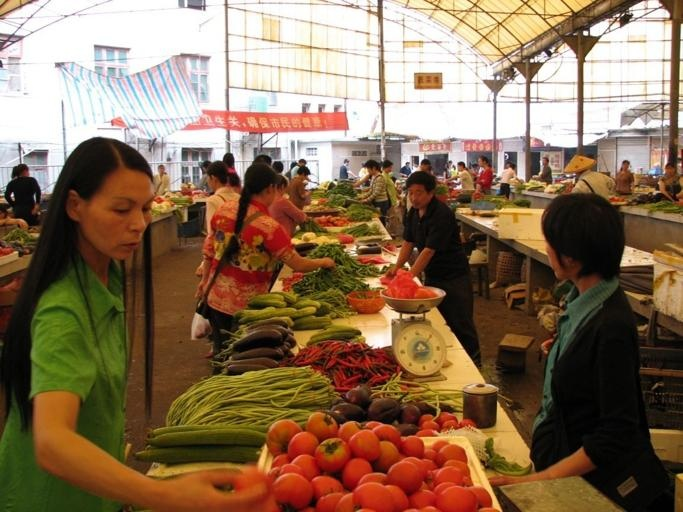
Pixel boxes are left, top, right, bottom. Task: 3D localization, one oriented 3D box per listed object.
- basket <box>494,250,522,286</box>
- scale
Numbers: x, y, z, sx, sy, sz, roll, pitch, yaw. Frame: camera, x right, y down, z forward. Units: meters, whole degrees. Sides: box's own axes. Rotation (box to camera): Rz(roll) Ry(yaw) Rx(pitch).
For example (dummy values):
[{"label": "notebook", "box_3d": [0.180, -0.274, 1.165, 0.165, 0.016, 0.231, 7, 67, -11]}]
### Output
[{"label": "basket", "box_3d": [2.679, 0.194, 8.156, 0.582, 0.549, 0.414, 4, 14, 12]}, {"label": "scale", "box_3d": [0.329, 0.391, 2.529, 0.281, 0.370, 0.286, 1, 12, -5]}]
